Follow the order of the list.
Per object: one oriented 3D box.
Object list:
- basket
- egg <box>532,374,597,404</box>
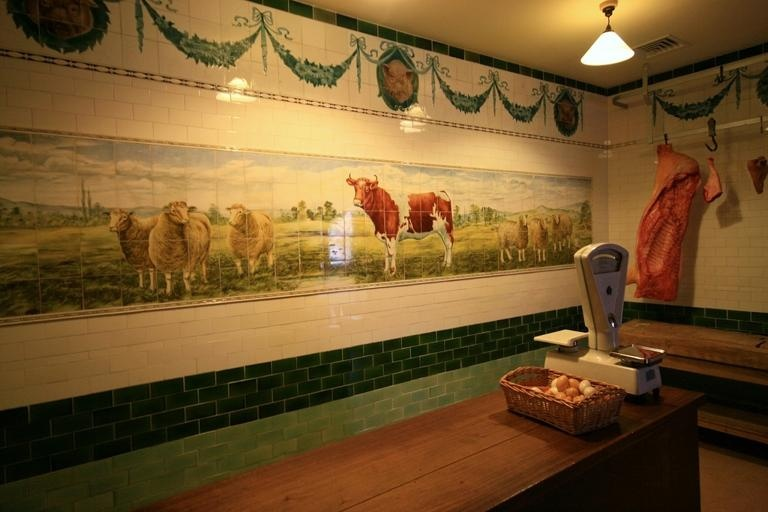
[{"bbox_3d":[1.059,0.824,3.059,0.400,0.217,0.590,-2,-2,-37],"label":"basket"},{"bbox_3d":[1.119,0.810,3.077,0.254,0.102,0.167,-14,-6,44],"label":"egg"}]
